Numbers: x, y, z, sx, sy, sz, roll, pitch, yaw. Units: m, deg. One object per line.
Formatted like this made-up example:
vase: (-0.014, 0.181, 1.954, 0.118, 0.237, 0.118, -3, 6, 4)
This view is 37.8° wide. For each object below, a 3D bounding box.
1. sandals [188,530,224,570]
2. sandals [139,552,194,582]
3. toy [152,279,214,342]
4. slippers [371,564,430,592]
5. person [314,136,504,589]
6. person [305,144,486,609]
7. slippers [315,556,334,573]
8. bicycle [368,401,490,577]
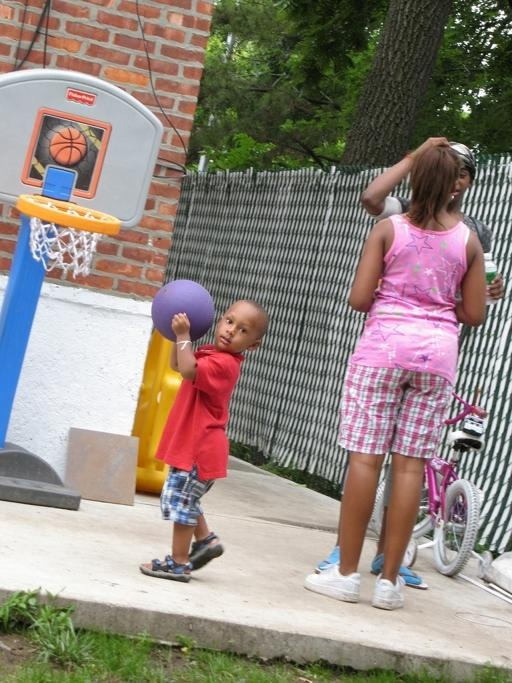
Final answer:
sandals: (-0.191, 0.780, 2.772, 0.096, 0.062, 0.190, 24, -39, -24)
sandals: (-0.312, 0.803, 2.661, 0.219, 0.076, 0.071, 12, -11, -11)
toy: (-0.212, -0.114, 2.852, 0.274, 0.245, 0.263, 2, 13, 40)
slippers: (0.650, 1.068, 3.505, 0.164, 0.129, 0.386, 8, -9, -14)
person: (0.628, 0.116, 3.394, 0.993, 1.907, 0.917, 3, 8, -1)
person: (0.603, 0.126, 3.066, 0.713, 1.629, 0.702, 6, -2, 32)
slippers: (0.311, 0.964, 3.226, 0.053, 0.051, 0.149, -5, -10, 33)
bicycle: (1.042, 0.840, 4.040, 0.658, 0.671, 1.233, 17, -2, -6)
